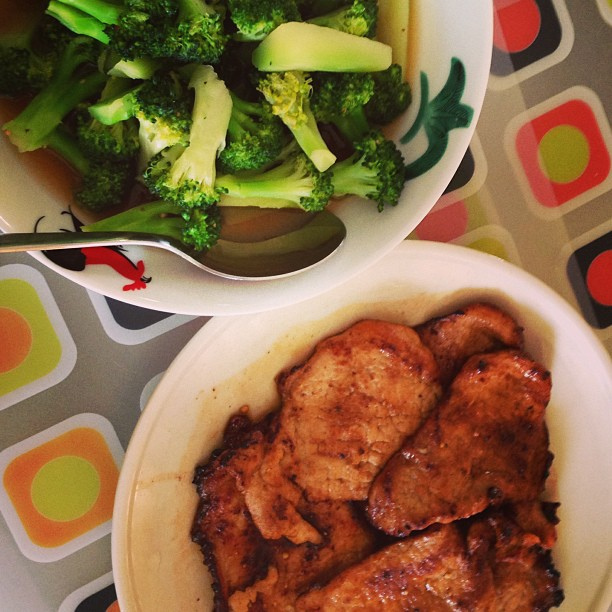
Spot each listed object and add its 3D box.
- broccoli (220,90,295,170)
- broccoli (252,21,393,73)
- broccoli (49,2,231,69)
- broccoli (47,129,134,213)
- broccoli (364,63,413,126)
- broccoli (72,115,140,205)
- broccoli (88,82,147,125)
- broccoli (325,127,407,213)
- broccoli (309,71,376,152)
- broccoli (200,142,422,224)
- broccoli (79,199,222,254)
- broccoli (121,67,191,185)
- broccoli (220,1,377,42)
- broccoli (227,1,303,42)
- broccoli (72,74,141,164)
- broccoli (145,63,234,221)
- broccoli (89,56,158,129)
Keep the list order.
[{"bbox_3d":[-0.119,-0.408,1.621,0.170,0.098,0.106,27,92,-27],"label":"broccoli"},{"bbox_3d":[0.045,-0.562,1.588,0.343,0.074,0.098,3,93,-13],"label":"broccoli"},{"bbox_3d":[-0.348,-0.580,1.529,0.344,0.179,0.121,-6,77,3],"label":"broccoli"},{"bbox_3d":[-0.490,-0.307,1.699,0.226,0.103,0.142,41,96,2],"label":"broccoli"},{"bbox_3d":[0.198,-0.503,1.682,0.127,0.058,0.120,-8,106,-6],"label":"broccoli"},{"bbox_3d":[-0.451,-0.333,1.699,0.156,0.122,0.205,-15,99,10],"label":"broccoli"},{"bbox_3d":[-0.421,-0.450,1.604,0.056,0.057,0.222,57,35,-6],"label":"broccoli"},{"bbox_3d":[0.106,-0.333,1.790,0.267,0.204,0.187,1,97,-8],"label":"broccoli"},{"bbox_3d":[0.062,-0.469,1.703,0.168,0.123,0.154,-1,122,16],"label":"broccoli"},{"bbox_3d":[0.016,-0.291,1.680,0.428,0.123,0.200,-10,85,9],"label":"broccoli"},{"bbox_3d":[-0.377,-0.176,1.642,0.319,0.168,0.115,-13,85,-36],"label":"broccoli"},{"bbox_3d":[-0.340,-0.397,1.560,0.203,0.066,0.228,8,116,-11],"label":"broccoli"},{"bbox_3d":[-0.032,-0.620,1.620,0.237,0.060,0.157,-7,56,-18],"label":"broccoli"},{"bbox_3d":[-0.099,-0.608,1.565,0.112,0.033,0.106,-8,111,-5],"label":"broccoli"},{"bbox_3d":[-0.443,-0.398,1.568,0.169,0.108,0.183,0,99,-12],"label":"broccoli"},{"bbox_3d":[-0.237,-0.366,1.604,0.236,0.133,0.310,12,106,-5],"label":"broccoli"},{"bbox_3d":[-0.402,-0.468,1.568,0.131,0.045,0.152,15,94,4],"label":"broccoli"}]
